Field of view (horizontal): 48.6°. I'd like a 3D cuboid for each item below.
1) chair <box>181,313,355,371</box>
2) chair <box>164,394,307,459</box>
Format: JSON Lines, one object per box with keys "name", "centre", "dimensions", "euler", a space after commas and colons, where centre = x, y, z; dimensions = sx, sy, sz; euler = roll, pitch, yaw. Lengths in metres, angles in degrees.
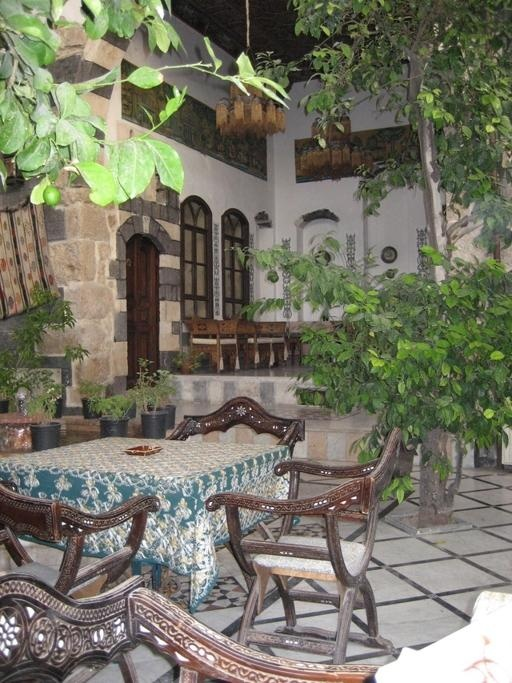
{"name": "chair", "centre": [-0.038, 0.034, 10.440], "dimensions": [1.363, 0.889, 3.692], "euler": [-1, -1, 23]}
{"name": "chair", "centre": [-0.144, 0.612, 4.108], "dimensions": [0.822, 0.344, 0.577], "euler": [-1, -4, 20]}
